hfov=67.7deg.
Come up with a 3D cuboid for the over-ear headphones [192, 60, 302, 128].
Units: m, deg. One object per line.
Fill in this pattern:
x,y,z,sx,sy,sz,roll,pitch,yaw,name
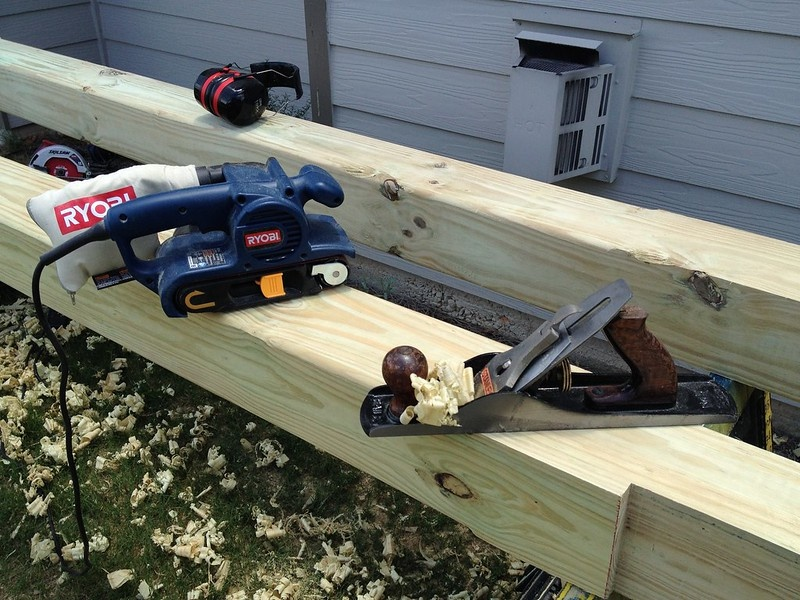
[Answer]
-0.498,-0.713,1.998,0.321,0.137,0.215,-30,57,-27,over-ear headphones
